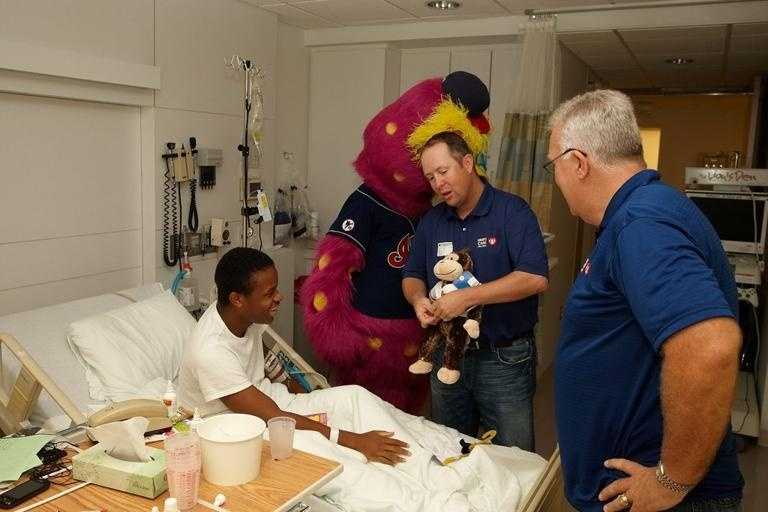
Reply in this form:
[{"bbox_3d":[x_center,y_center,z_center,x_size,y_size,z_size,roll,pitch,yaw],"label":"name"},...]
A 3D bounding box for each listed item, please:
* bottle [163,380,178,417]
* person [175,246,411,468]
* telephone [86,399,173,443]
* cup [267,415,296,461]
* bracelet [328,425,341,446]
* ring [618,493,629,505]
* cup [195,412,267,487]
[{"bbox_3d":[-0.810,0.534,1.983,0.065,0.130,0.065,-4,-8,-1],"label":"bottle"},{"bbox_3d":[-0.417,0.428,2.218,1.091,0.812,0.563,10,19,34],"label":"person"},{"bbox_3d":[-0.859,0.505,1.767,0.233,0.109,0.125,-11,8,-32],"label":"telephone"},{"bbox_3d":[-0.323,0.565,1.650,0.109,0.125,0.113,0,0,0],"label":"cup"},{"bbox_3d":[-0.204,0.726,2.132,0.036,0.051,0.050,7,-10,-10],"label":"bracelet"},{"bbox_3d":[0.651,0.656,1.423,0.016,0.027,0.022,-25,-23,20],"label":"ring"},{"bbox_3d":[-0.447,0.570,1.564,0.185,0.122,0.189,2,10,0],"label":"cup"}]
